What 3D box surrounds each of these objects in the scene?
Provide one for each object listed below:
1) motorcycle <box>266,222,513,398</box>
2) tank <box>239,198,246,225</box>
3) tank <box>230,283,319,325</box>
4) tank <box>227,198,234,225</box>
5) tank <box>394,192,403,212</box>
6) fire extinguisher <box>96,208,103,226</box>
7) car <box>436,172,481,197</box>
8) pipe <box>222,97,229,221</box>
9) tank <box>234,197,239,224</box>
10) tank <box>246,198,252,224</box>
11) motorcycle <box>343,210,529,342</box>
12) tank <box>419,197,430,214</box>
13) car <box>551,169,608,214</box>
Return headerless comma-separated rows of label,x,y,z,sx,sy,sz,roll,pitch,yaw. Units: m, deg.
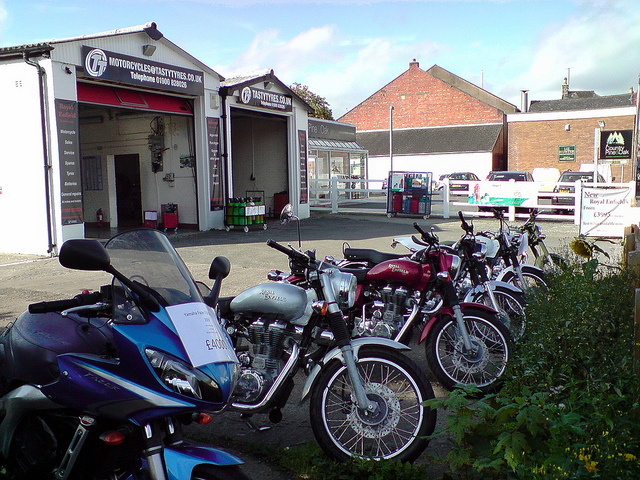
motorcycle,0.576,0.538,5.371,2.283,1.452,0.861,11,3,21
tank,-2.407,-0.890,18.199,0.192,0.771,0.392,-2,6,-10
tank,-0.316,0.426,4.183,0.600,0.379,0.401,4,5,22
tank,-2.794,-0.912,18.476,0.217,0.802,0.335,0,6,11
tank,2.976,-1.474,22.541,0.339,0.747,0.137,1,6,19
fire extinguisher,-7.740,-0.821,20.694,0.183,0.591,0.325,-3,6,-20
car,8.975,-4.075,38.570,2.691,2.080,5.927,1,10,19
pipe,-2.976,-2.735,18.538,0.143,3.560,0.435,-2,6,-9
tank,-2.608,-0.911,18.298,0.161,0.777,0.392,-2,6,-9
tank,-2.202,-0.869,18.260,0.135,0.704,0.342,-2,5,-6
motorcycle,1.241,0.352,6.159,1.756,1.242,1.189,2,6,16
tank,3.808,-1.355,22.011,0.483,0.980,0.532,2,4,14
car,10.574,-2.069,24.677,1.424,1.757,7.333,1,6,24
